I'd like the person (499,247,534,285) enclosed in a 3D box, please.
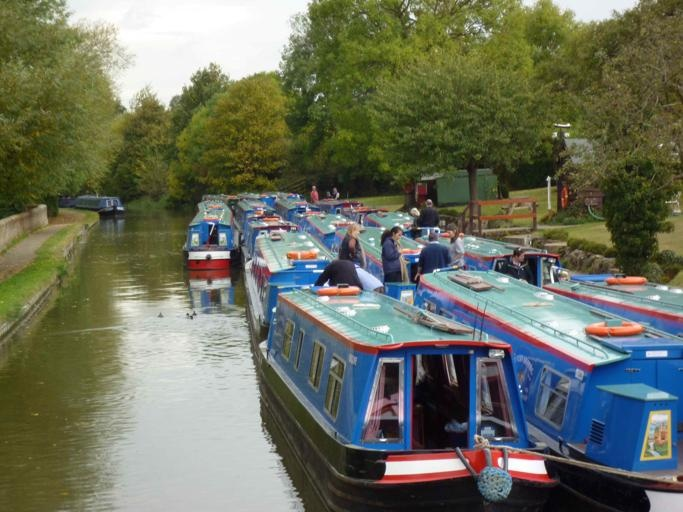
[{"bbox_3d":[4.682,0.502,19.091,0.830,1.450,0.752,-3,26,11],"label":"person"}]

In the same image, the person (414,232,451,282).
[{"bbox_3d":[2.438,0.365,19.742,0.951,2.264,0.626,-4,25,-6],"label":"person"}]

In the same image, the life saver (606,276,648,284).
[{"bbox_3d":[6.747,0.583,17.403,0.395,0.141,0.702,0,0,-13],"label":"life saver"}]
